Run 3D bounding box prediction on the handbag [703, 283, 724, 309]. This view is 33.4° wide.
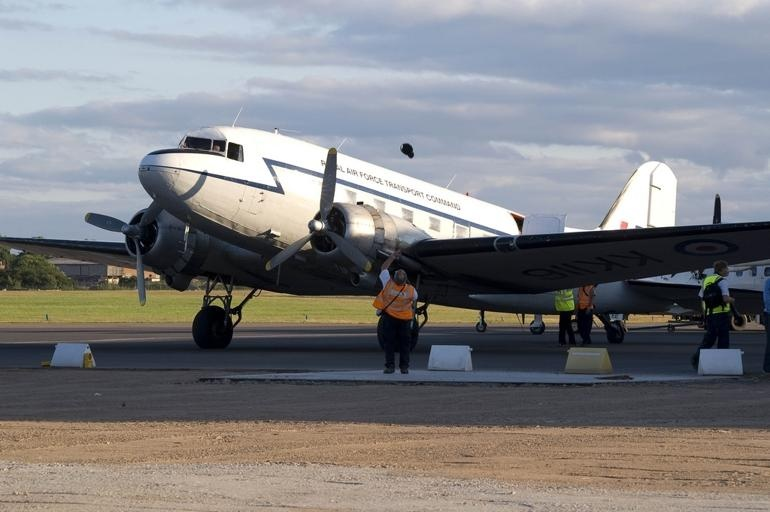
[{"bbox_3d":[6.528,0.762,25.259,0.168,0.533,0.461,2,3,-34],"label":"handbag"}]
